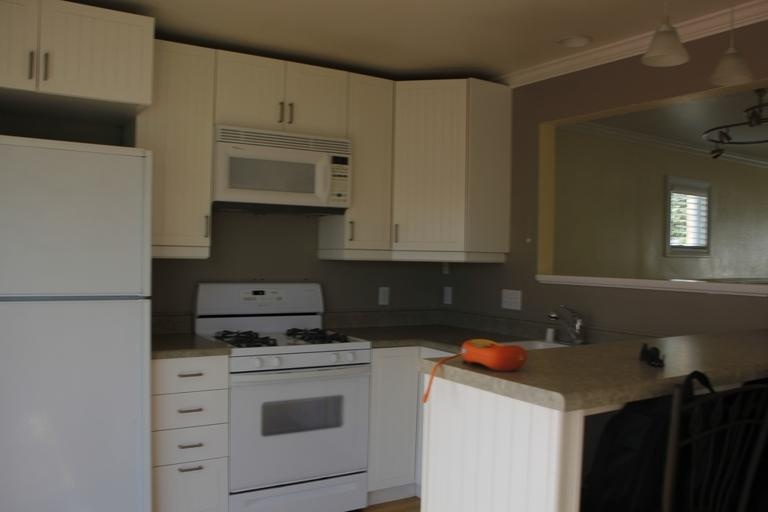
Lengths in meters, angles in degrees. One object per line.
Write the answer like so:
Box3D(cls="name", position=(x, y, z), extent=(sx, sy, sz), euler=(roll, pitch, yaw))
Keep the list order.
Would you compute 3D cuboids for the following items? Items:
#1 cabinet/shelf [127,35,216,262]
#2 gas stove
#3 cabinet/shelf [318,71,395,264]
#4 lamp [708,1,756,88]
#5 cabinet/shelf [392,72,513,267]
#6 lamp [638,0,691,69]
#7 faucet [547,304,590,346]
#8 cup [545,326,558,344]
Box3D(cls="cabinet/shelf", position=(-1.149, -0.625, 3.767), extent=(0.475, 1.245, 0.465), euler=(6, 7, 28))
Box3D(cls="gas stove", position=(-0.671, 0.575, 3.892), extent=(0.957, 0.250, 0.838), euler=(2, 1, -34))
Box3D(cls="cabinet/shelf", position=(-0.245, -0.613, 4.233), extent=(0.554, 1.297, 0.542), euler=(6, 12, 20))
Box3D(cls="lamp", position=(1.761, -1.082, 2.992), extent=(0.187, 0.483, 0.750), euler=(5, 10, 29))
Box3D(cls="cabinet/shelf", position=(0.451, -0.462, 4.360), extent=(0.674, 1.063, 0.561), euler=(-1, -8, 24))
Box3D(cls="lamp", position=(1.222, -0.944, 2.599), extent=(0.167, 0.199, 0.162), euler=(-5, 10, -29))
Box3D(cls="faucet", position=(1.178, 0.440, 3.921), extent=(0.319, 0.234, 0.181), euler=(8, 12, 44))
Box3D(cls="cup", position=(1.092, 0.521, 3.907), extent=(0.081, 0.128, 0.082), euler=(1, -4, 0))
